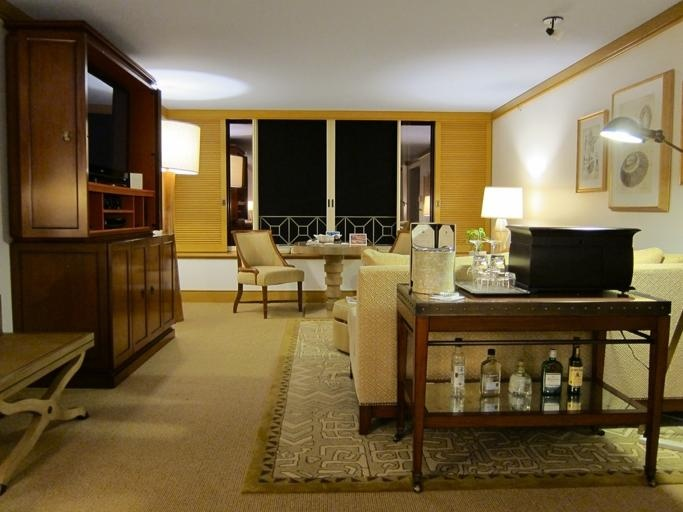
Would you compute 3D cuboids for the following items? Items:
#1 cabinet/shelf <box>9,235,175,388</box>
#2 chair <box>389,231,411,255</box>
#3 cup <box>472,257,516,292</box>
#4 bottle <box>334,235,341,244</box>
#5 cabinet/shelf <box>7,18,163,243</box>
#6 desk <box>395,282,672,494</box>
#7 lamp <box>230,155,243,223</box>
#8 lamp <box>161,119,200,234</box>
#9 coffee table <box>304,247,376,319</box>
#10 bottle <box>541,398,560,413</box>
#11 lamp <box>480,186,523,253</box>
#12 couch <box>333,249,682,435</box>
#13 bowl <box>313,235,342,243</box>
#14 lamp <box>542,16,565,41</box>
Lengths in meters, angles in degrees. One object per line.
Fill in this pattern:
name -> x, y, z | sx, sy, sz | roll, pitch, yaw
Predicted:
cabinet/shelf -> -1.920, 0.424, 3.886 | 0.374, 0.591, 1.165 | -1, 5, -5
chair -> 0.732, -0.155, 6.085 | 0.274, 0.311, 0.286 | 1, 6, -9
cup -> 0.890, 0.111, 3.051 | 0.206, 0.153, 0.197 | 0, 1, 0
bottle -> -0.058, -0.216, 6.751 | 0.135, 0.129, 0.067 | -2, 2, -35
cabinet/shelf -> -2.075, -1.003, 4.095 | 0.590, 1.468, 1.711 | 0, 6, -4
desk -> 1.040, 0.996, 3.226 | 1.729, 1.188, 1.040 | -1, 11, -3
lamp -> -1.881, -1.244, 9.346 | 0.232, 1.114, 0.399 | -2, 10, -11
lamp -> -1.749, -0.834, 5.466 | 0.336, 1.182, 0.600 | 4, 10, 20
coffee table -> -0.097, 0.256, 6.321 | 0.773, 0.690, 0.810 | -3, 4, -37
bottle -> 1.161, 0.834, 2.858 | 0.079, 0.052, 0.043 | -1, 1, -7
lamp -> 2.038, -0.461, 6.484 | 0.489, 0.808, 0.847 | 3, 10, 17
couch -> 0.765, 0.550, 3.803 | 1.901, 1.145, 1.280 | -1, 8, -1
bowl -> -0.165, -0.220, 6.649 | 0.220, 0.083, 0.151 | 0, 1, -17
lamp -> 1.733, -1.857, 4.201 | 0.162, 0.117, 0.156 | 1, 4, 10
